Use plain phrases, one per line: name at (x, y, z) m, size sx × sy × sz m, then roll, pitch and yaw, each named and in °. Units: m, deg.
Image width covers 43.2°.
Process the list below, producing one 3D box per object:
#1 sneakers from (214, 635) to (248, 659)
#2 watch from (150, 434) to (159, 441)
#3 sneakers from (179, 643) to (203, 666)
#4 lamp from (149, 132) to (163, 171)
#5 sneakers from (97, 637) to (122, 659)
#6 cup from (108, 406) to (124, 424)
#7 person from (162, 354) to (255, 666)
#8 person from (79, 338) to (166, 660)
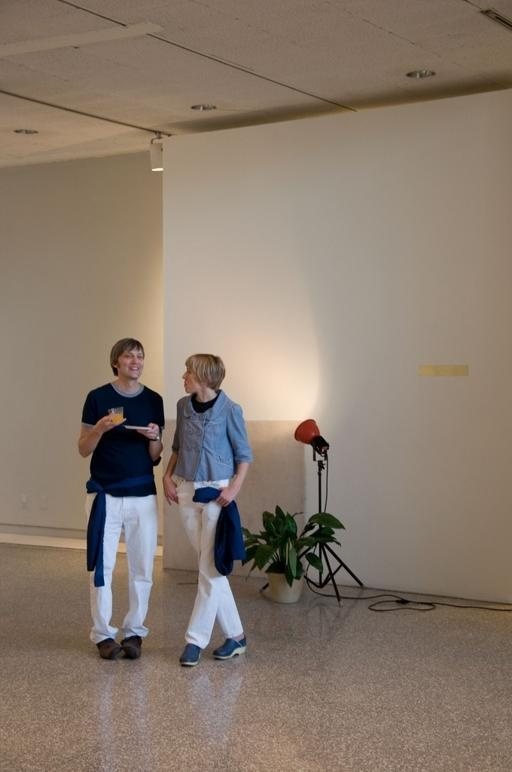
sneakers at (-0.118, 1.256, 3.113) m, size 0.062 × 0.085 × 0.184 m, roll -4°, pitch -7°, yaw 34°
watch at (-0.470, 0.240, 2.992) m, size 0.036 × 0.019 × 0.051 m, roll 0°, pitch -2°, yaw 0°
sneakers at (-0.298, 1.238, 2.955) m, size 0.052 × 0.061 × 0.136 m, roll 0°, pitch -10°, yaw 4°
lamp at (-0.832, -1.948, 5.415) m, size 0.088 × 0.325 × 0.386 m, roll -1°, pitch 7°, yaw -12°
sneakers at (-0.700, 1.258, 3.083) m, size 0.059 × 0.077 × 0.163 m, roll -4°, pitch -13°, yaw -29°
cup at (-0.624, 0.134, 2.843) m, size 0.073 × 0.078 × 0.061 m, roll -5°, pitch -2°, yaw 16°
person at (-0.248, 0.595, 3.016) m, size 0.426 × 1.470 × 0.411 m, roll 1°, pitch 7°, yaw 6°
person at (-0.644, 0.589, 3.089) m, size 0.385 × 1.616 × 0.490 m, roll 3°, pitch 7°, yaw 19°
